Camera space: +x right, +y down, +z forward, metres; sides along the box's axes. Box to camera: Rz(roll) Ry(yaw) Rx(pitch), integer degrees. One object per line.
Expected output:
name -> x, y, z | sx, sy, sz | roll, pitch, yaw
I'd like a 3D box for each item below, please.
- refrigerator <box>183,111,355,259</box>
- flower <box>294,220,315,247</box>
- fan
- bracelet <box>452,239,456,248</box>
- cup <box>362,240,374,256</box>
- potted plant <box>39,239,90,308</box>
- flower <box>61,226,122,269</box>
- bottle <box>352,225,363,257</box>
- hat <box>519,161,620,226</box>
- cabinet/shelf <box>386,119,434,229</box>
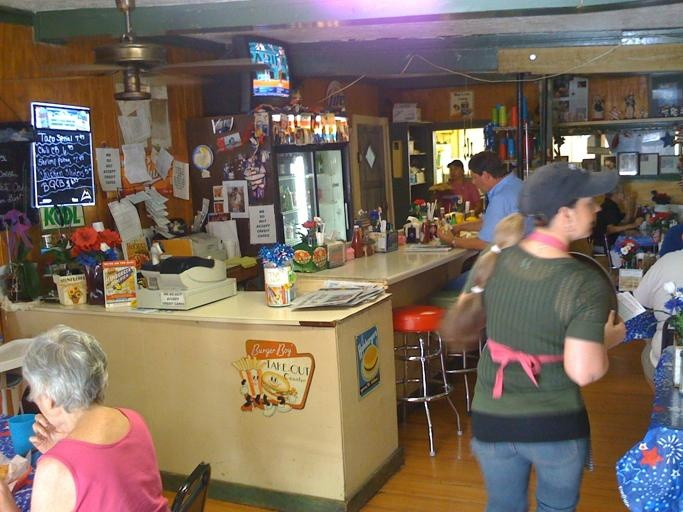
refrigerator -> -0.593, -0.782, 6.237 | 0.788, 1.450, 1.522 | 2, 12, 31
flower -> -0.287, -0.183, 4.751 | 0.159, 0.198, 0.304 | -6, 8, -2
fan -> -1.535, -1.484, 4.197 | 1.116, 0.569, 1.272 | 2, 8, 35
bracelet -> 1.048, -0.116, 5.431 | 0.016, 0.064, 0.046 | -9, 18, 1
cup -> 0.251, -0.071, 5.320 | 0.068, 0.135, 0.220 | -4, 9, 11
potted plant -> -1.893, 0.114, 4.247 | 0.290, 0.469, 0.327 | -1, 4, 24
flower -> -1.755, -0.085, 4.087 | 0.296, 0.185, 0.304 | 32, 30, 25
bottle -> 0.146, -0.119, 5.219 | 0.094, 0.255, 0.164 | -4, 9, 8
hat -> 0.857, -0.287, 2.242 | 0.371, 0.182, 0.226 | -20, 28, -4
cabinet/shelf -> 1.230, -1.430, 10.100 | 0.464, 1.762, 1.230 | -1, 10, 28
